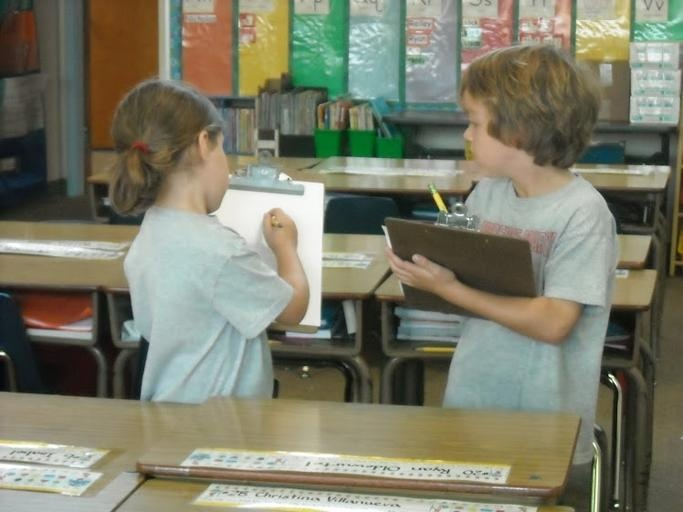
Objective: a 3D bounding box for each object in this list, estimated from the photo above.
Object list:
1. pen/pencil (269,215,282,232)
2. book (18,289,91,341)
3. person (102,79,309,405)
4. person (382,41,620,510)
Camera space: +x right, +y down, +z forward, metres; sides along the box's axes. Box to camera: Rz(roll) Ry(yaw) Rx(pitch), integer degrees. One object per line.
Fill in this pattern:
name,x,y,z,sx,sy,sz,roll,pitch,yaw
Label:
pen/pencil,-0.175,-0.082,2.047,0.027,0.036,0.014,-36,-12,-23
book,-0.964,0.194,2.595,0.195,0.045,0.179,1,14,-5
person,-0.321,-0.024,1.802,0.394,0.732,0.189,-4,12,-9
person,0.401,0.077,1.860,0.450,1.107,0.266,4,13,25
